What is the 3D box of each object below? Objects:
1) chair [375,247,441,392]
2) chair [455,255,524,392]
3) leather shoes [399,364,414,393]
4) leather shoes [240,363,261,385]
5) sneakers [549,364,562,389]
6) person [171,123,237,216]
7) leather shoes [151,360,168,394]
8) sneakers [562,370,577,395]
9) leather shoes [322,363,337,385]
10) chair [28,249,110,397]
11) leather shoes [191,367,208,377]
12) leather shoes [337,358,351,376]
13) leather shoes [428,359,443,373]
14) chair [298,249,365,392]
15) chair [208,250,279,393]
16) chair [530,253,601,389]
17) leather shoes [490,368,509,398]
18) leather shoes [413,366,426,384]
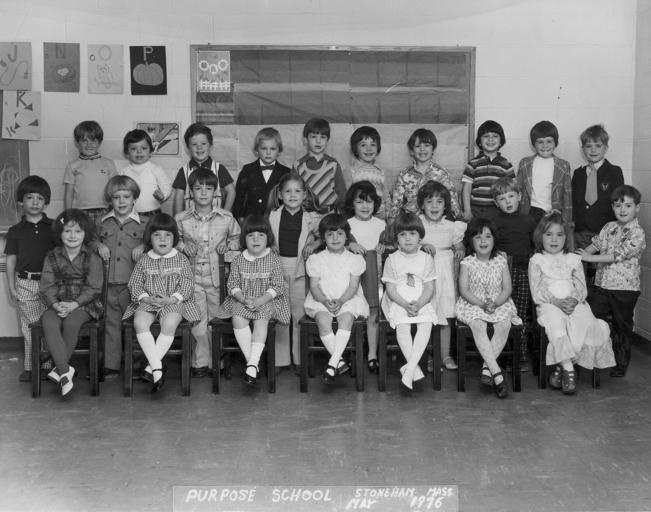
[{"bbox_3d":[0.527,0.390,4.576,0.319,0.924,0.459,1,-25,4],"label":"chair"},{"bbox_3d":[1.047,0.406,4.492,0.398,0.764,0.565,1,11,6],"label":"chair"},{"bbox_3d":[0.511,0.760,4.370,0.059,0.077,0.194,-3,32,-4],"label":"leather shoes"},{"bbox_3d":[-0.450,0.736,4.337,0.076,0.088,0.226,2,-2,-7],"label":"leather shoes"},{"bbox_3d":[1.485,0.770,4.509,0.073,0.147,0.212,3,12,16],"label":"sneakers"},{"bbox_3d":[-0.888,-0.425,5.159,0.441,1.068,0.311,-4,-7,-9],"label":"person"},{"bbox_3d":[-1.024,0.742,4.291,0.079,0.247,0.085,-6,-21,32],"label":"leather shoes"},{"bbox_3d":[1.533,0.786,4.400,0.091,0.148,0.141,4,12,20],"label":"sneakers"},{"bbox_3d":[0.021,0.729,4.265,0.051,0.056,0.156,7,39,0],"label":"leather shoes"},{"bbox_3d":[-1.624,0.419,4.447,0.461,0.894,0.648,-3,11,-14],"label":"chair"},{"bbox_3d":[-0.850,0.790,4.740,0.044,0.052,0.115,-1,-7,32],"label":"leather shoes"},{"bbox_3d":[0.118,0.704,4.418,0.057,0.083,0.197,-2,-6,3],"label":"leather shoes"},{"bbox_3d":[0.731,0.741,4.701,0.072,0.100,0.224,-1,-10,0],"label":"leather shoes"},{"bbox_3d":[0.069,0.318,4.525,0.430,0.355,1.030,-2,43,0],"label":"chair"},{"bbox_3d":[-0.544,0.442,4.689,0.418,0.826,0.808,-1,11,-5],"label":"chair"},{"bbox_3d":[1.591,0.390,4.601,0.367,0.889,0.522,-3,-22,6],"label":"chair"},{"bbox_3d":[1.081,0.790,4.334,0.066,0.202,0.052,-20,-30,26],"label":"leather shoes"},{"bbox_3d":[0.586,0.746,4.464,0.070,0.128,0.121,-2,-12,1],"label":"leather shoes"}]
